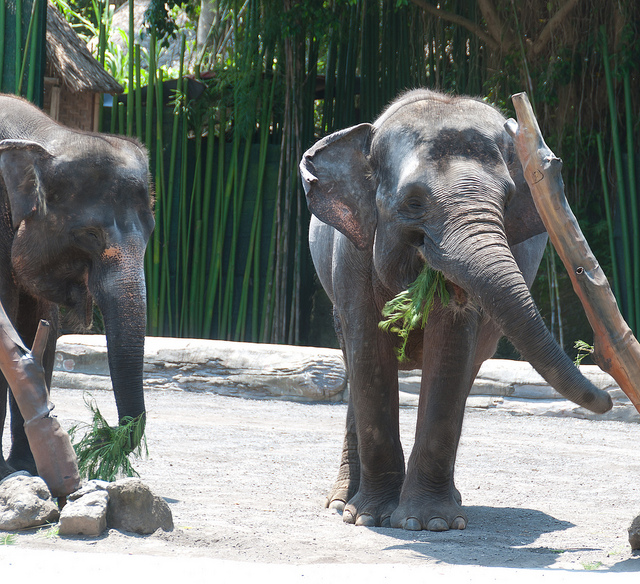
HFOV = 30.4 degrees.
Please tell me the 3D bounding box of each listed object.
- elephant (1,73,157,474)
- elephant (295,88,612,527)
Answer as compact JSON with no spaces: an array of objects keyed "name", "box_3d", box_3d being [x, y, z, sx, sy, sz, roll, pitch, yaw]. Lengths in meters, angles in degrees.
[{"name":"elephant","box_3d":[-1.077,-0.088,5.195,0.725,1.537,0.560,2,1,0]},{"name":"elephant","box_3d":[0.364,0.114,4.935,0.850,1.658,2.358,-2,-5,-13]}]
